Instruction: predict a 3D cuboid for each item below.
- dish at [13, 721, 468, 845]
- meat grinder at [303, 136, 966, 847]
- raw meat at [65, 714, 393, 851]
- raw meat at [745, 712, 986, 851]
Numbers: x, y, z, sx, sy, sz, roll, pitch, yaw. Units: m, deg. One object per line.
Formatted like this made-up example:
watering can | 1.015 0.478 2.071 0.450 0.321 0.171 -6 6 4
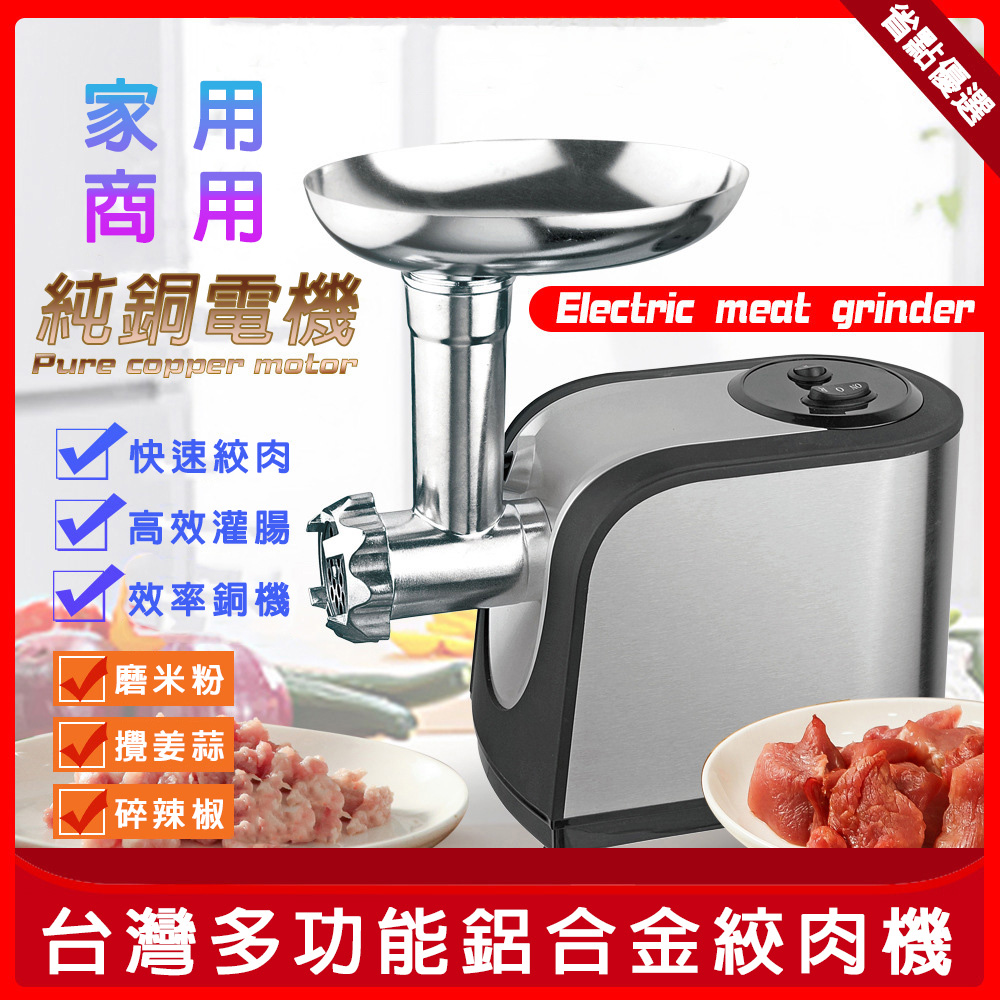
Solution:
dish | -0.195 0.275 1.104 0.232 0.019 0.193 0 7 -17
meat grinder | 0.092 0.005 1.187 0.773 0.578 0.383 -5 13 -38
raw meat | -0.235 0.257 1.076 0.164 0.054 0.214 8 4 -5
raw meat | 0.300 0.240 0.945 0.185 0.052 0.120 -10 16 -39
